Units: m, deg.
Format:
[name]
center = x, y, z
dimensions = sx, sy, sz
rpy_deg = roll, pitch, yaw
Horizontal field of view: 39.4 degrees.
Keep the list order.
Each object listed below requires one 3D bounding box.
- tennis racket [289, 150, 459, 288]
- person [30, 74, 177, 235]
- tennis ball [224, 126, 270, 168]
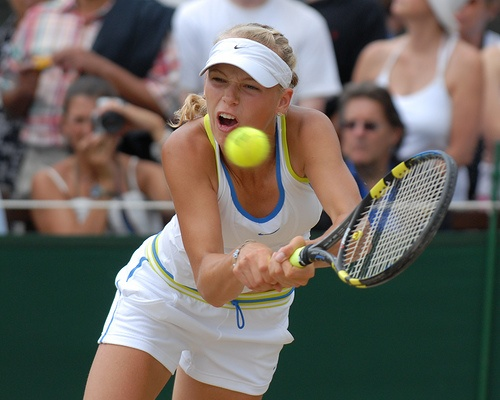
[tennis racket]
center = 0.499, 0.189, 3.256
dimensions = 1.100, 0.150, 0.708
rpy_deg = -30, 26, 41
[person]
center = -1.016, -0.186, 4.882
dimensions = 0.595, 1.365, 0.752
rpy_deg = 13, 20, 28
[tennis ball]
center = -0.014, -0.241, 3.183
dimensions = 0.208, 0.170, 0.167
rpy_deg = 0, 20, -1
